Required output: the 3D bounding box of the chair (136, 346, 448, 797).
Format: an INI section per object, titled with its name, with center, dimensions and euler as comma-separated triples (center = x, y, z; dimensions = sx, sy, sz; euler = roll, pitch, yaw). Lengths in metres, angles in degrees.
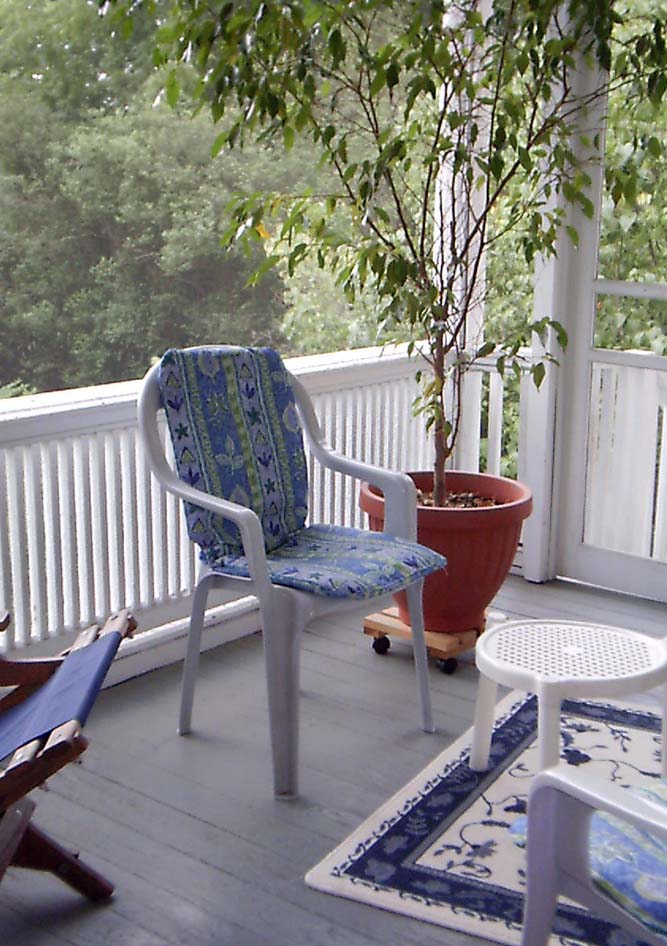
[chair]
center = -0.073, 0.169, 1.839
dimensions = 0.555, 0.904, 0.518
euler = 7, 13, 42
